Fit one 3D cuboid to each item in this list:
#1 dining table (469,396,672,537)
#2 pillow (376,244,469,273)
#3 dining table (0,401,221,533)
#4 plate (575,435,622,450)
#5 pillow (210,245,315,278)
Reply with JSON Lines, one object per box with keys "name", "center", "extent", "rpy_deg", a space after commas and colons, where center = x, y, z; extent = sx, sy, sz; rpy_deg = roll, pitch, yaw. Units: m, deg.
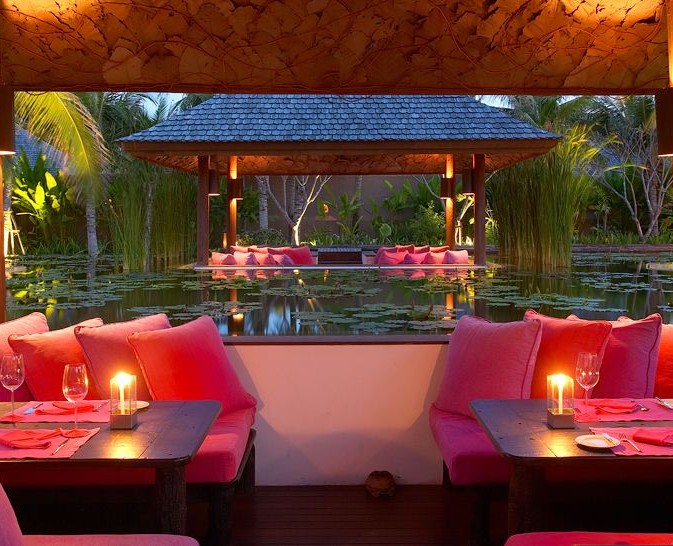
{"name": "dining table", "center": [0.834, 0.742, 2.522], "extent": [0.649, 0.425, 0.508], "rpy_deg": [0, -1, 8]}
{"name": "pillow", "center": [1.353, -0.260, 10.922], "extent": [1.455, 0.350, 1.164], "rpy_deg": [0, -1, 3]}
{"name": "dining table", "center": [-0.757, 0.769, 2.526], "extent": [0.658, 0.496, 0.543], "rpy_deg": [0, -1, -10]}
{"name": "plate", "center": [0.890, 0.582, 2.367], "extent": [0.120, 0.041, 0.130], "rpy_deg": [1, -1, -43]}
{"name": "pillow", "center": [-1.163, -0.213, 10.698], "extent": [1.510, 0.510, 2.429], "rpy_deg": [0, -1, 14]}
